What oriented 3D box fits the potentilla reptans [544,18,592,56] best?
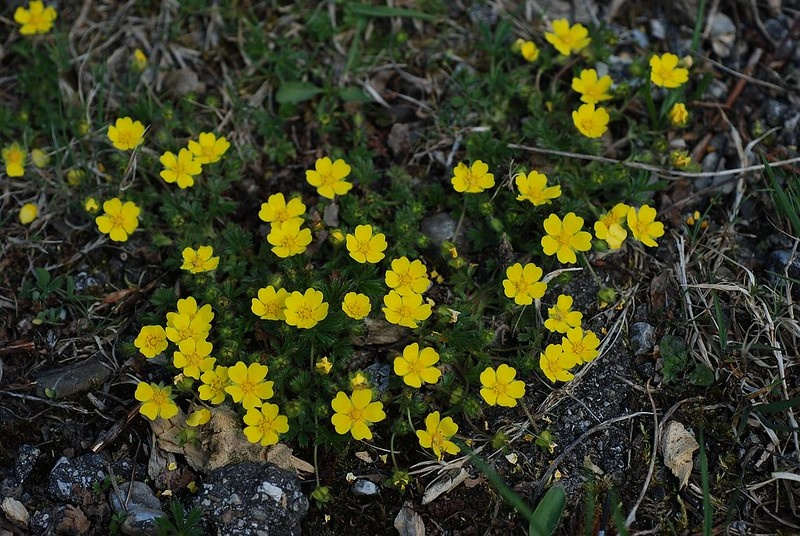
[{"bbox_3d":[1.554,-2.136,6.565,0.423,0.451,0.141,13,84,15],"label":"potentilla reptans"}]

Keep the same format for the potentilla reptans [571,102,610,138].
[{"bbox_3d":[1.632,-1.294,6.153,0.332,0.363,0.187,11,71,10],"label":"potentilla reptans"}]

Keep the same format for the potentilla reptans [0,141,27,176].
[{"bbox_3d":[-3.487,-0.975,6.370,0.202,0.150,0.299,-1,85,-2],"label":"potentilla reptans"}]

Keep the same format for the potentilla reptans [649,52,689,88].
[{"bbox_3d":[2.310,-1.705,6.117,0.327,0.151,0.305,-10,85,-3],"label":"potentilla reptans"}]
